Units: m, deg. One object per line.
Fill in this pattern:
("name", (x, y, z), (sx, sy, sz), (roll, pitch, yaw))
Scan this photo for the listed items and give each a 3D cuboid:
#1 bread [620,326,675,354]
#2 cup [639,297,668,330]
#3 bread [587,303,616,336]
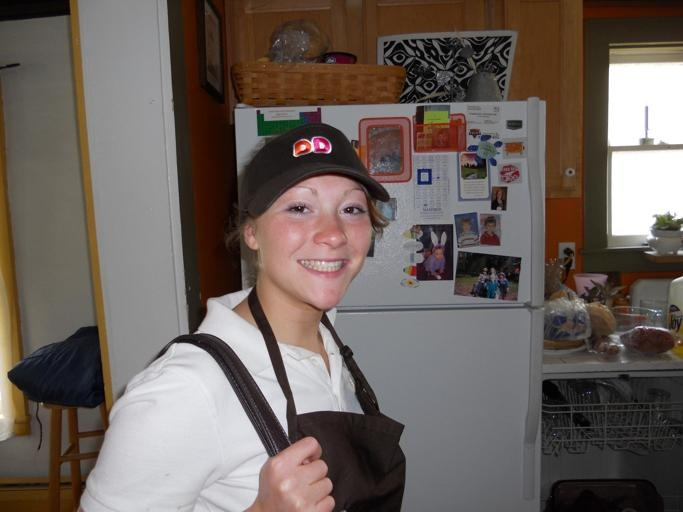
("bread", (1.313, 0.347, 2.631), (0.154, 0.082, 0.117), (1, -1, -8))
("cup", (1.496, 0.272, 2.973), (0.149, 0.168, 0.147), (1, -4, 0))
("bread", (1.163, 0.286, 2.779), (0.127, 0.135, 0.107), (2, 4, 22))
